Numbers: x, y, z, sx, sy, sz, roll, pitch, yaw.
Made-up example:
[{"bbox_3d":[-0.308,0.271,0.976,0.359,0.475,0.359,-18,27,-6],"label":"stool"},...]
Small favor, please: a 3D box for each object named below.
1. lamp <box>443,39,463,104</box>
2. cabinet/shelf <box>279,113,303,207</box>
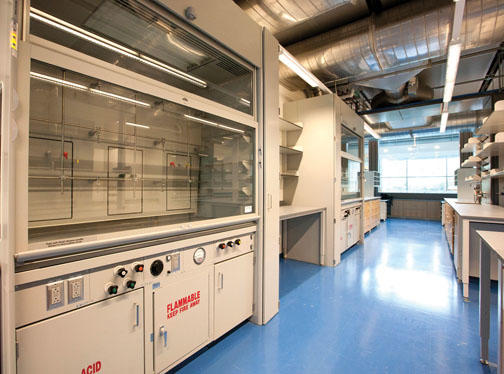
[{"bbox_3d":[2.661,-1.525,4.519,0.115,0.069,0.846,20,-7,25],"label":"lamp"},{"bbox_3d":[0.567,-0.323,4.921,0.324,1.209,0.499,1,10,4],"label":"cabinet/shelf"}]
